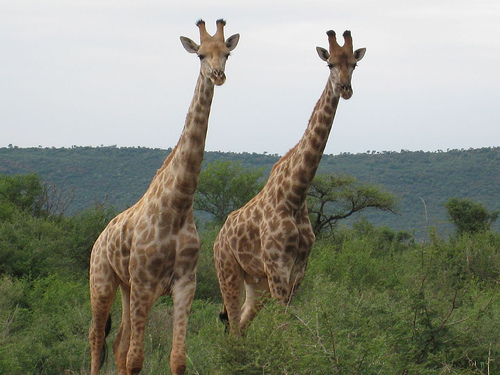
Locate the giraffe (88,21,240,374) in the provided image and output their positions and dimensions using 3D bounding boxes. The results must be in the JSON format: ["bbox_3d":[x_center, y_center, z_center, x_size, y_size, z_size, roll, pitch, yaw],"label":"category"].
[{"bbox_3d":[-1.473,0.243,11.527,1.034,5.600,2.844,12,-13,-36],"label":"giraffe"}]
